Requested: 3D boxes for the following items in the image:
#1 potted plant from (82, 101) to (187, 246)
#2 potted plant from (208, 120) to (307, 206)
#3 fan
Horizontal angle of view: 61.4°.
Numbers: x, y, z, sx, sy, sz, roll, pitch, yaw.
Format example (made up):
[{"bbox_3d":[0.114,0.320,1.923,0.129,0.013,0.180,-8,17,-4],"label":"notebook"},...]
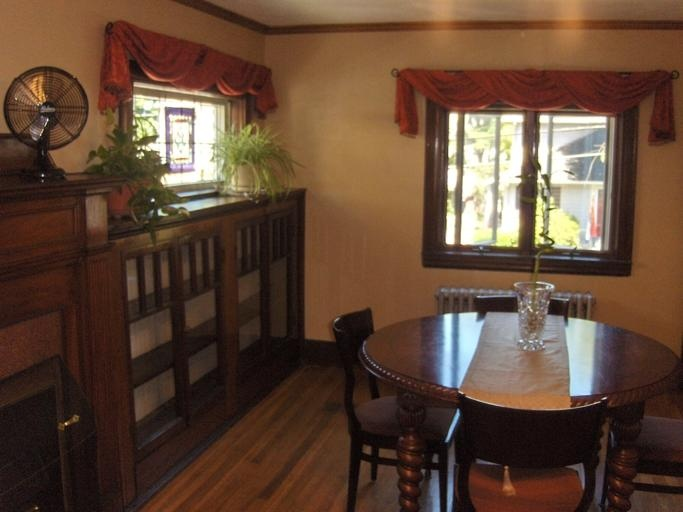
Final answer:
[{"bbox_3d":[-1.000,-0.492,3.307,0.665,0.744,0.608,-3,11,-9],"label":"potted plant"},{"bbox_3d":[-0.697,-0.762,4.553,0.654,0.511,0.675,-2,16,-11],"label":"potted plant"},{"bbox_3d":[-1.349,-0.612,2.650,0.305,0.505,0.214,-5,13,-14],"label":"fan"}]
